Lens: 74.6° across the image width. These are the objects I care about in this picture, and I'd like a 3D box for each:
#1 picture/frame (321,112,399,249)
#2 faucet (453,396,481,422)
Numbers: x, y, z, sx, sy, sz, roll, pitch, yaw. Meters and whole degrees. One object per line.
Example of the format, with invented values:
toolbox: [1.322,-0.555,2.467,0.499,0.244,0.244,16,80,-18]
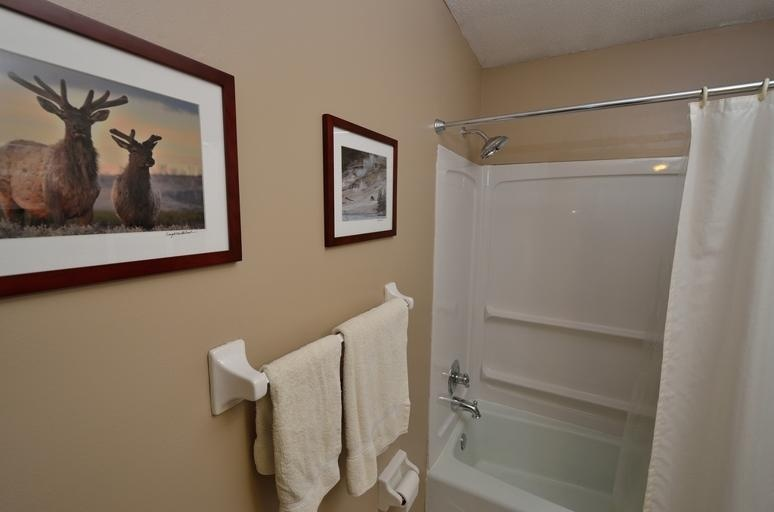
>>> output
picture/frame: [-0.106,-0.265,1.739,0.019,0.439,0.471,3,6,33]
faucet: [0.413,0.783,2.640,0.111,0.112,0.200,19,-19,-28]
